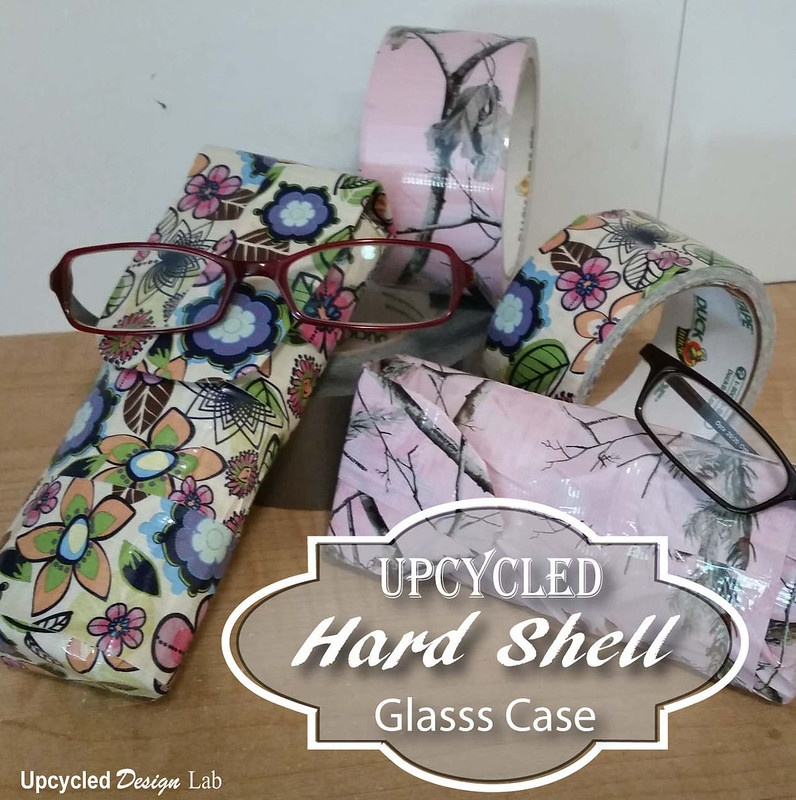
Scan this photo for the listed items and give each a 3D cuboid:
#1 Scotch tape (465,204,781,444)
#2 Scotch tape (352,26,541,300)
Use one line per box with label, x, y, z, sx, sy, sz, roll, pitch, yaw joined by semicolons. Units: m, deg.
Scotch tape;0.155;-0.053;0.605;0.203;0.152;0.078;-10;37;-25
Scotch tape;0.037;-0.171;0.667;0.145;0.198;0.227;11;24;6
